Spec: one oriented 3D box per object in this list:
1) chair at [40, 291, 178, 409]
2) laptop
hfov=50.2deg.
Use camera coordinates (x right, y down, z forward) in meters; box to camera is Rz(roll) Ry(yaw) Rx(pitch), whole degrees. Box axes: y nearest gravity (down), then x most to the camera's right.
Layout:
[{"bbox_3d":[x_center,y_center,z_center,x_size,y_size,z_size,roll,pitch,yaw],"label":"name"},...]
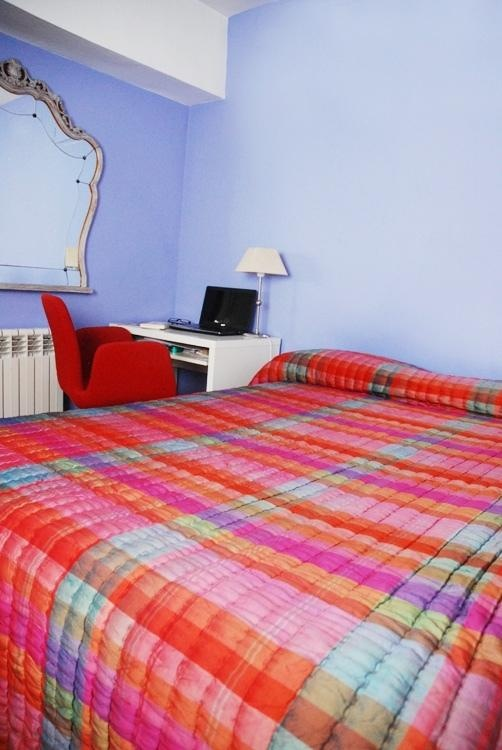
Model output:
[{"bbox_3d":[-0.652,-0.136,2.663,0.630,0.739,0.574,-8,20,-24],"label":"chair"},{"bbox_3d":[-0.214,-0.402,3.141,0.484,0.287,0.337,10,9,39],"label":"laptop"}]
